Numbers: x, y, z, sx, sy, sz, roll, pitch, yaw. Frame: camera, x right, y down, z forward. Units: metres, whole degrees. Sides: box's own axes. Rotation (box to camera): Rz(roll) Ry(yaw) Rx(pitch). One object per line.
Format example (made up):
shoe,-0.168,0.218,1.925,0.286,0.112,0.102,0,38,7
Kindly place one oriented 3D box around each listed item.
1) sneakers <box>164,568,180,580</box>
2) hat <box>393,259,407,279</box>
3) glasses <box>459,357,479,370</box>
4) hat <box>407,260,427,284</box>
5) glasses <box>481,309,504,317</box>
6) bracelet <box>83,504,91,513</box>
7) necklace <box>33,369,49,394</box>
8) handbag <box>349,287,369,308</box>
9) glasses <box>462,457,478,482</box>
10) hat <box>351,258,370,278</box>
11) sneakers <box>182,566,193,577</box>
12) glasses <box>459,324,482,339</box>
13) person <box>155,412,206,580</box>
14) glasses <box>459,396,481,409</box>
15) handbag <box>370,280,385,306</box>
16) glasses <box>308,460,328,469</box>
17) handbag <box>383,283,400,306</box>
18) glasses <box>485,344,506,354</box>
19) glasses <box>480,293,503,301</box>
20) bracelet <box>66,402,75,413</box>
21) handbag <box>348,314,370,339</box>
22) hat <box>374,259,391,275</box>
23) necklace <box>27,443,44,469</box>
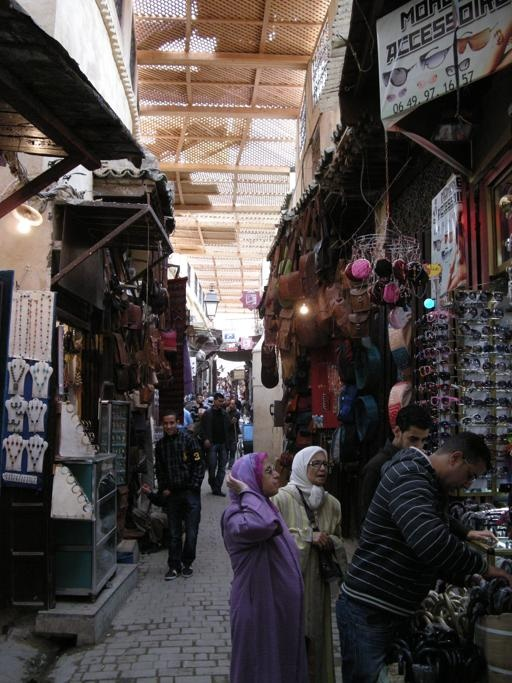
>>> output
sneakers,-0.873,2.412,6.114,0.057,0.079,0.181,0,-5,19
hat,0.962,-0.484,3.998,0.052,0.127,0.085,-13,-17,43
glasses,1.178,0.124,3.244,0.053,0.032,0.071,3,-14,-11
hat,1.093,-0.466,4.035,0.128,0.134,0.124,1,-8,17
glasses,1.296,-0.151,3.262,0.060,0.031,0.065,2,-5,2
bracelet,-1.279,1.276,4.501,0.063,0.065,0.013,2,-7,8
necklace,-1.612,0.317,4.447,0.112,0.198,0.068,1,5,-2
handbag,0.925,-0.380,5.287,0.154,0.225,0.165,-2,-7,10
glasses,0.727,0.436,2.041,0.019,0.074,0.066,-30,-36,34
hat,0.779,-0.552,4.397,0.151,0.168,0.202,1,-8,13
sneakers,-0.721,2.421,6.199,0.121,0.083,0.157,3,-8,2
glasses,1.187,-0.050,3.255,0.096,0.078,0.047,-2,10,27
person,-0.834,1.633,6.345,0.531,1.674,0.408,4,-7,-11
glasses,1.170,0.328,3.202,0.098,0.059,0.026,0,-8,24
handbag,0.863,-0.365,4.254,0.132,0.147,0.100,0,-5,-22
glasses,0.348,0.696,3.325,0.068,0.079,0.024,5,38,-7
handbag,0.968,-0.335,4.250,0.120,0.221,0.141,2,-14,22
glasses,1.307,0.037,3.229,0.057,0.032,0.088,1,-7,3
glasses,1.314,-0.252,3.315,0.064,0.027,0.070,1,-4,4
bracelet,-1.418,0.516,4.554,0.018,0.084,0.060,-20,42,-42
handbag,0.949,-0.136,5.460,0.189,0.275,0.186,-2,0,8
hat,0.866,-0.507,4.097,0.092,0.106,0.110,17,7,2
necklace,-1.644,0.863,4.440,0.134,0.241,0.056,3,-7,-3
